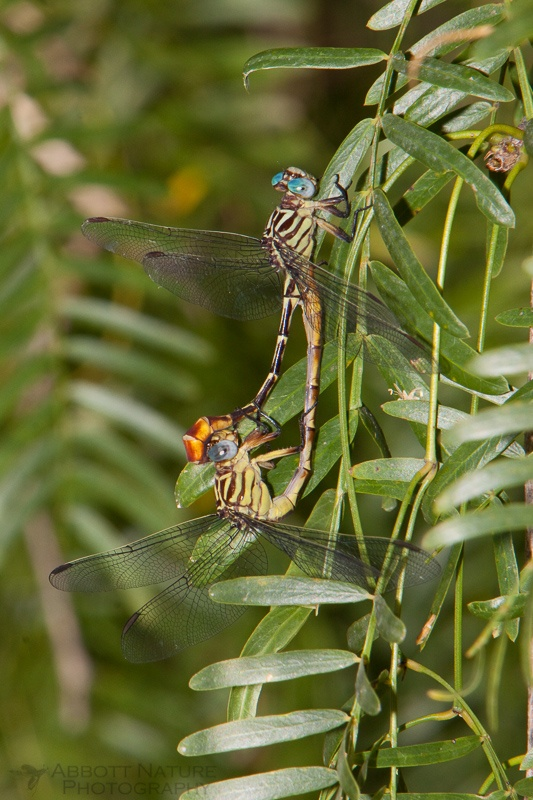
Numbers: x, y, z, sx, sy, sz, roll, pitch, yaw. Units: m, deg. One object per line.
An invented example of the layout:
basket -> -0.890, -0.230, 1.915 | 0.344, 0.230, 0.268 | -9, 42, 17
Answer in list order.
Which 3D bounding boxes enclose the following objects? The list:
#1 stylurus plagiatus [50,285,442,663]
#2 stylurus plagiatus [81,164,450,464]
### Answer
stylurus plagiatus -> -0.044, 0.165, 1.096 | 0.240, 0.301, 0.488 | 24, -32, -38
stylurus plagiatus -> 0.000, -0.147, 1.292 | 0.242, 0.334, 0.546 | 33, 20, 25
